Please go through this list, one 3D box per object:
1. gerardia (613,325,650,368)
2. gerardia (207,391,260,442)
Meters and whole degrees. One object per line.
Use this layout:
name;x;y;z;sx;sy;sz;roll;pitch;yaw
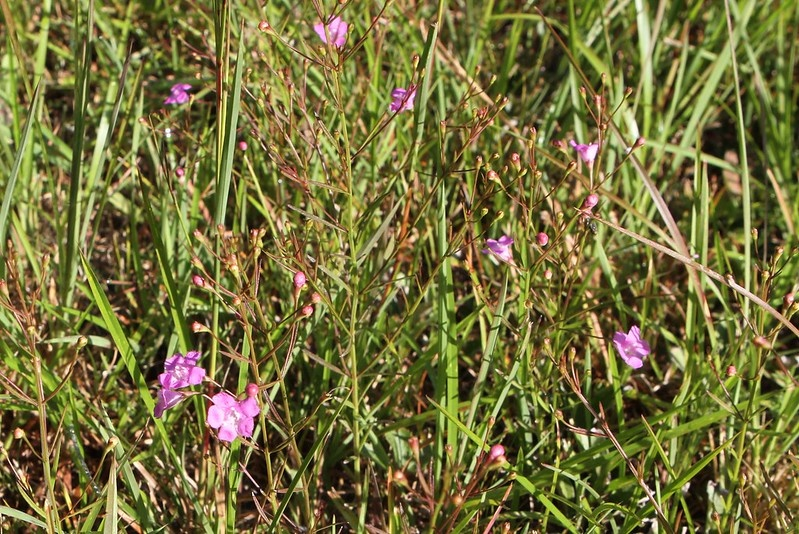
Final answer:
gerardia;1.144;0.388;4.206;0.175;0.254;0.097;13;4;12
gerardia;-0.753;0.676;3.855;0.182;0.263;0.101;-1;0;-6
